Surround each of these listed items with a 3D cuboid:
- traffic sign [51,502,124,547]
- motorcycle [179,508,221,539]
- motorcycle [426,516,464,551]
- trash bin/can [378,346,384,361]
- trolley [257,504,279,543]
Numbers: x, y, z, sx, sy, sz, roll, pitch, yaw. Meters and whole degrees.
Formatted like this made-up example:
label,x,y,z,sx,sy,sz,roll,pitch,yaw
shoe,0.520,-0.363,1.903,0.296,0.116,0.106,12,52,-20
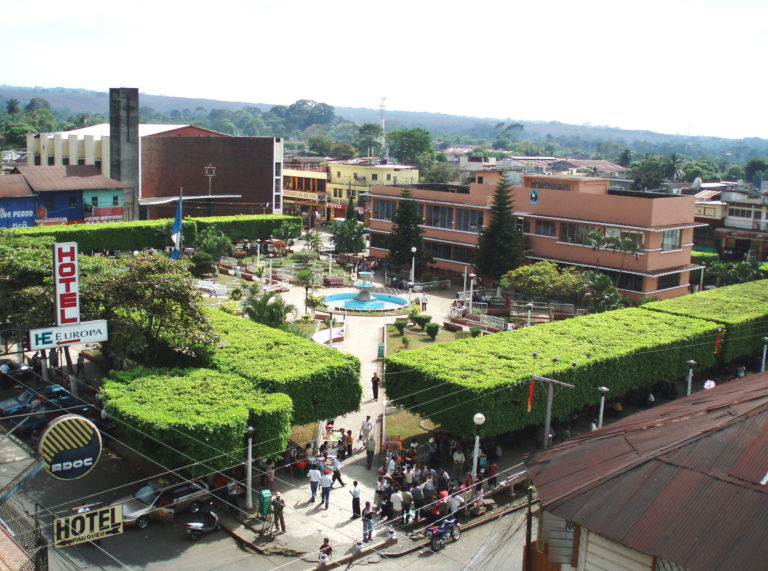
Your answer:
label,x,y,z,sx,sy,sz,roll,pitch,yaw
traffic sign,-11.190,9.102,36.870,0.897,1.452,2.864,9,14,38
motorcycle,-8.276,10.686,44.205,0.822,0.883,1.581,7,7,27
motorcycle,2.615,11.153,44.520,1.637,0.963,0.981,-18,16,-39
trash bin/can,-0.205,4.346,63.696,0.406,0.996,0.954,-1,11,-2
trolley,-5.284,10.776,44.220,0.772,0.877,1.535,11,10,0
